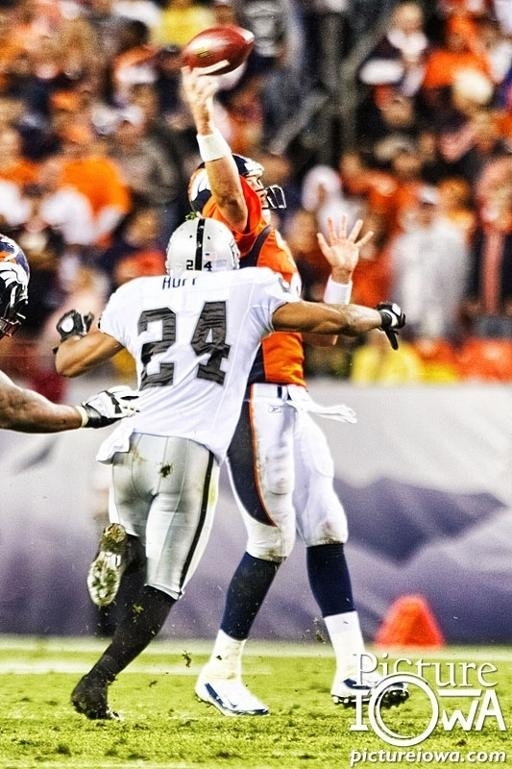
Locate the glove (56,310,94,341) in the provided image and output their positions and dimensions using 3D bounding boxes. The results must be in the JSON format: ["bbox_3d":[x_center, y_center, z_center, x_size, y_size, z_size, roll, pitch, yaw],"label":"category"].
[{"bbox_3d":[-0.664,-0.220,3.733,0.116,0.134,0.047,18,-26,9],"label":"glove"}]

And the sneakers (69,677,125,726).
[{"bbox_3d":[-0.522,1.031,3.345,0.158,0.092,0.194,31,-22,26],"label":"sneakers"}]

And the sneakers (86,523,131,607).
[{"bbox_3d":[-0.488,0.594,3.359,0.162,0.252,0.099,20,12,36],"label":"sneakers"}]

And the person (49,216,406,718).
[{"bbox_3d":[-0.222,0.283,3.465,1.073,1.391,0.432,2,-1,2],"label":"person"}]

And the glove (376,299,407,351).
[{"bbox_3d":[0.453,-0.221,3.700,0.095,0.169,0.150,-2,-10,27],"label":"glove"}]
